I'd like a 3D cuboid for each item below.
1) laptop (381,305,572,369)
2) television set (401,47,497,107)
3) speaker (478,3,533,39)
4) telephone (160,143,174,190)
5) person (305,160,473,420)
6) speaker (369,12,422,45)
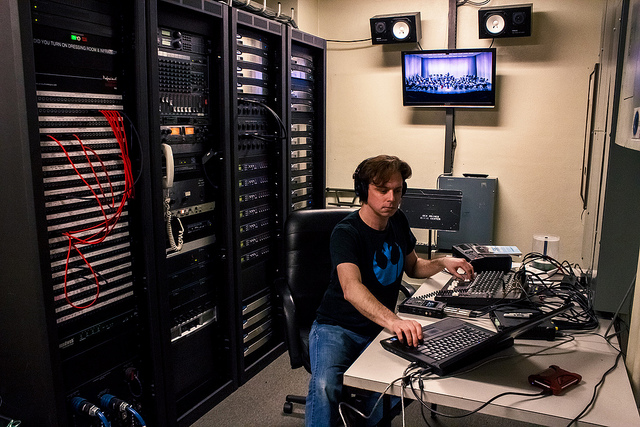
[{"bbox_3d":[0.546,0.553,2.012,0.451,0.100,0.279,-5,12,-24],"label":"laptop"},{"bbox_3d":[1.206,-1.248,4.120,0.605,0.362,0.067,3,19,17],"label":"television set"},{"bbox_3d":[1.586,-1.647,3.879,0.521,0.323,0.295,8,23,29],"label":"speaker"},{"bbox_3d":[-0.913,-0.282,2.716,0.049,0.244,0.124,-6,9,-33],"label":"telephone"},{"bbox_3d":[0.365,0.354,2.385,0.890,1.246,1.060,-1,12,-2],"label":"person"},{"bbox_3d":[0.742,-1.743,4.300,0.439,0.255,0.273,8,22,28],"label":"speaker"}]
